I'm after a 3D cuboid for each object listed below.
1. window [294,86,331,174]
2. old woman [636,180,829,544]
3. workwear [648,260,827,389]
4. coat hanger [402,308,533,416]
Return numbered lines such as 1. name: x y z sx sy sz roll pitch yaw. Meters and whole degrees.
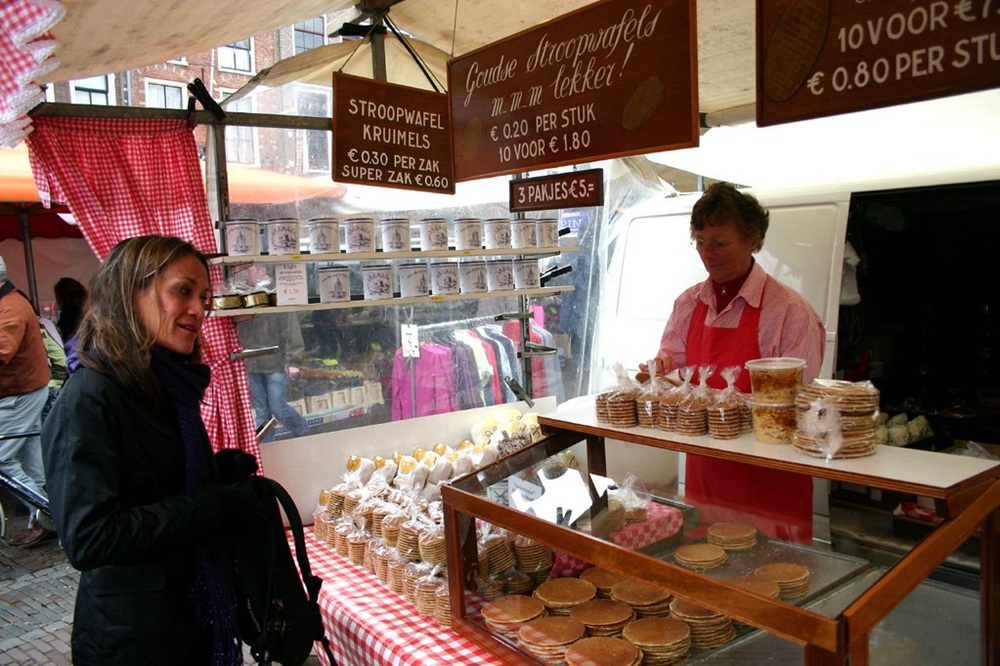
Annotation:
1. window: -1.925 -2.138 6.978 0.327 0.941 0.569 -3 5 -15
2. old woman: 1.177 -0.015 3.300 0.830 1.927 0.856 2 5 43
3. workwear: 1.413 -0.061 3.809 0.471 0.733 0.964 3 2 -29
4. coat hanger: -0.428 0.309 6.386 1.567 0.841 0.666 -11 18 -37
